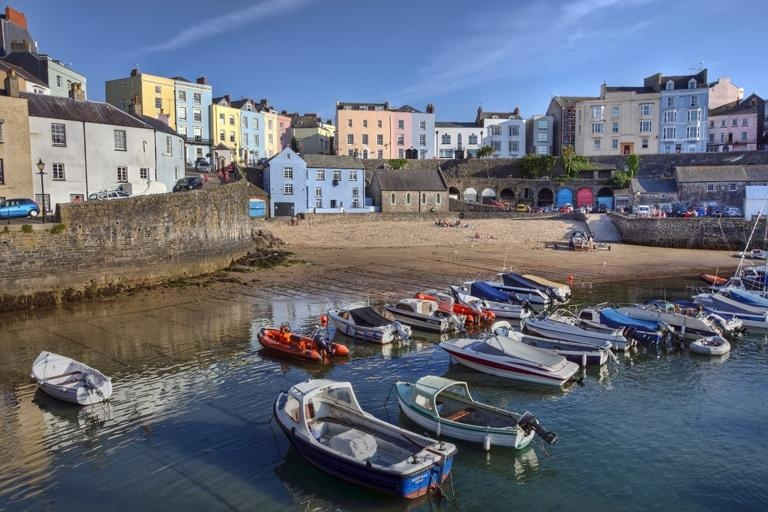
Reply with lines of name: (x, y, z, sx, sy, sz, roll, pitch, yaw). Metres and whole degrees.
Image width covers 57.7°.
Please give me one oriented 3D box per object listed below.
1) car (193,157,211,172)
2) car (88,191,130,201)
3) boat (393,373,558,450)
car: (-20.020, -10.004, 77.163, 1.727, 1.933, 4.575, -4, 8, -25)
car: (-19.606, -4.223, 49.852, 2.157, 0.694, 1.145, -12, 18, -40)
boat: (3.667, 7.430, 30.901, 7.034, 2.011, 2.764, 12, 15, 33)
